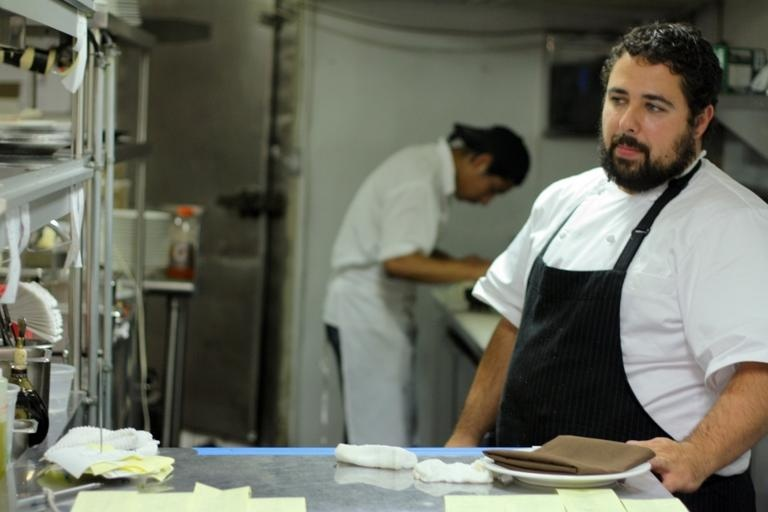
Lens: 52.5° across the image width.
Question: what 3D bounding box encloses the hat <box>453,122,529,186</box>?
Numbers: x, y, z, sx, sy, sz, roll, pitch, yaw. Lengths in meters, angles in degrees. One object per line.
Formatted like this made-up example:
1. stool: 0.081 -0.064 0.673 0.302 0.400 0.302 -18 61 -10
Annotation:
1. hat: 0.351 -0.362 2.485 0.210 0.099 0.159 29 -23 1

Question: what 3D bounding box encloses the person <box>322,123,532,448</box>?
1. person: 0.018 -0.001 3.372 0.883 1.981 0.826 -1 7 -8
